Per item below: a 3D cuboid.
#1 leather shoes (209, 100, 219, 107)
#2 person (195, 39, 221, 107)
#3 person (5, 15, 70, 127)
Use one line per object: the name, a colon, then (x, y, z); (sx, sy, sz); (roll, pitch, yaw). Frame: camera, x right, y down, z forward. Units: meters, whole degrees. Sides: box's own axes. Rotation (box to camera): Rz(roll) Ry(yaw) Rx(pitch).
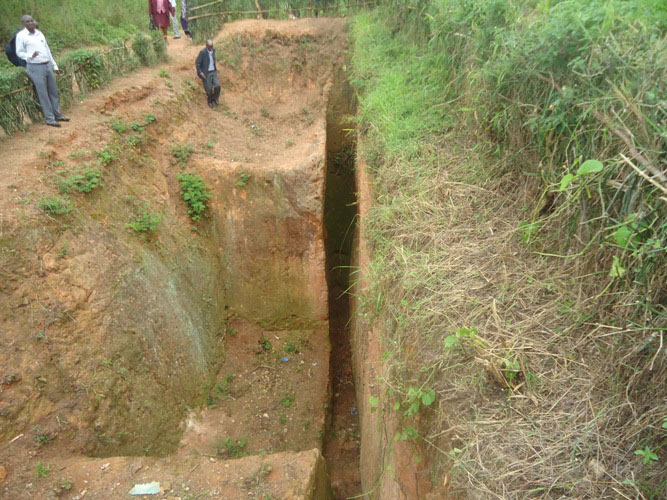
leather shoes: (-2.366, -2.880, 12.150); (0.095, 0.177, 0.162); (6, 12, 5)
person: (-2.441, -3.467, 11.973); (0.399, 1.281, 0.825); (-13, 32, -8)
person: (-4.850, -2.897, 10.066); (0.638, 1.667, 0.523); (-20, 33, -20)
